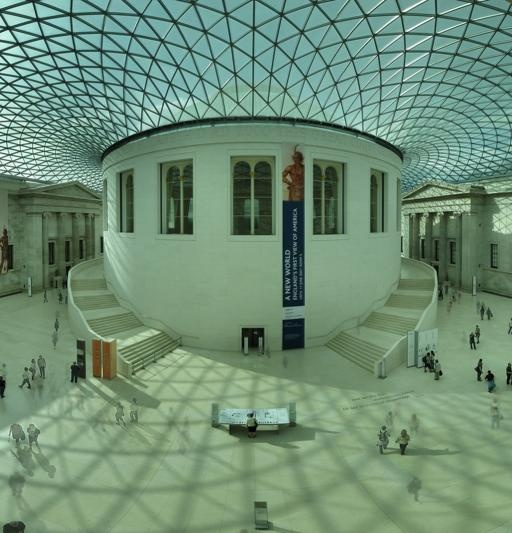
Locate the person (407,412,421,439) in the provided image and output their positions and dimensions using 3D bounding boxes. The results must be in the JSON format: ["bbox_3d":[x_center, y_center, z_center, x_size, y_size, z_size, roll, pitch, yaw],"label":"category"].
[{"bbox_3d":[6.173,6.273,20.313,0.506,0.906,0.467,-1,-1,-40],"label":"person"}]

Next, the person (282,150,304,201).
[{"bbox_3d":[2.128,-5.215,29.569,1.270,2.914,0.864,-2,14,-9],"label":"person"}]

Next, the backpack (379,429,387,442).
[{"bbox_3d":[4.710,6.300,19.101,0.297,0.512,0.341,3,14,12],"label":"backpack"}]

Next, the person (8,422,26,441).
[{"bbox_3d":[-8.887,6.245,19.408,0.599,0.748,0.205,1,3,5],"label":"person"}]

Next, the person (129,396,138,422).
[{"bbox_3d":[-4.982,5.867,21.041,0.341,0.943,0.596,-4,14,-15],"label":"person"}]

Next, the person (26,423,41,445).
[{"bbox_3d":[-8.336,6.280,19.399,0.412,0.800,0.821,-7,15,-25],"label":"person"}]

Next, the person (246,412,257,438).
[{"bbox_3d":[-0.140,6.301,20.274,0.445,0.796,0.694,-1,13,-2],"label":"person"}]

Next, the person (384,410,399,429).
[{"bbox_3d":[5.478,6.232,20.872,0.616,0.691,0.193,9,21,26],"label":"person"}]

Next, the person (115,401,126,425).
[{"bbox_3d":[-5.531,5.885,20.988,0.376,0.924,0.708,-4,14,-15],"label":"person"}]
